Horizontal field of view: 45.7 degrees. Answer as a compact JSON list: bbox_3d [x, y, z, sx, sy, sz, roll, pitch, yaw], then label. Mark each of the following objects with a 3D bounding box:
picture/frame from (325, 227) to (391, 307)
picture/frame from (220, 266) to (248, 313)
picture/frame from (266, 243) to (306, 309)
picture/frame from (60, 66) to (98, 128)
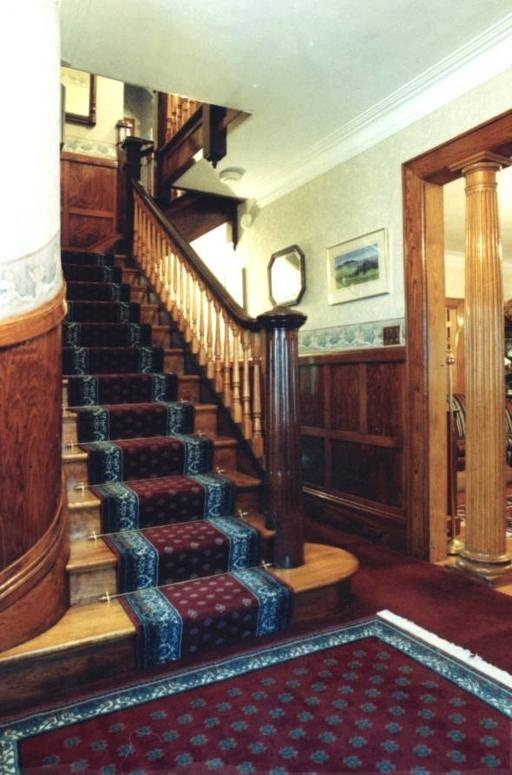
[{"bbox_3d":[0.652,-0.751,3.779,0.043,0.422,0.568,0,-1,-26],"label":"picture/frame"},{"bbox_3d":[-0.200,-0.889,5.531,0.142,0.422,0.482,-1,1,-22],"label":"picture/frame"},{"bbox_3d":[0.230,-0.836,4.685,0.110,0.453,0.650,-1,1,-16],"label":"picture/frame"},{"bbox_3d":[-1.832,-3.036,6.312,0.359,0.631,0.345,-1,1,-19],"label":"picture/frame"}]
